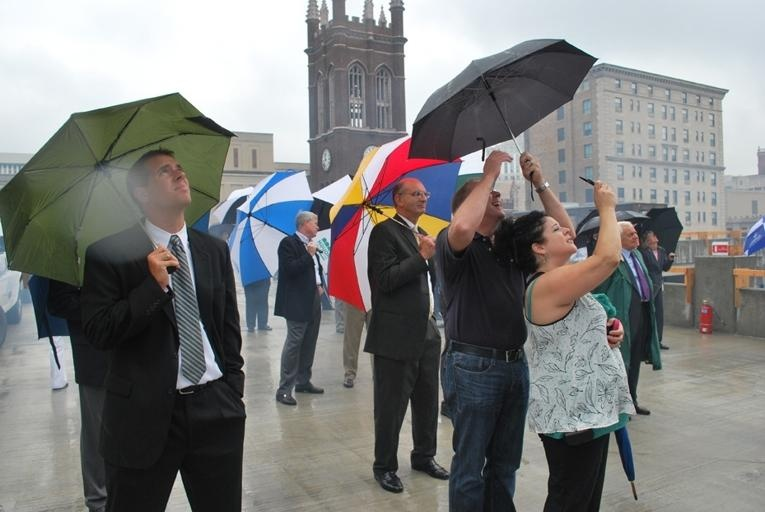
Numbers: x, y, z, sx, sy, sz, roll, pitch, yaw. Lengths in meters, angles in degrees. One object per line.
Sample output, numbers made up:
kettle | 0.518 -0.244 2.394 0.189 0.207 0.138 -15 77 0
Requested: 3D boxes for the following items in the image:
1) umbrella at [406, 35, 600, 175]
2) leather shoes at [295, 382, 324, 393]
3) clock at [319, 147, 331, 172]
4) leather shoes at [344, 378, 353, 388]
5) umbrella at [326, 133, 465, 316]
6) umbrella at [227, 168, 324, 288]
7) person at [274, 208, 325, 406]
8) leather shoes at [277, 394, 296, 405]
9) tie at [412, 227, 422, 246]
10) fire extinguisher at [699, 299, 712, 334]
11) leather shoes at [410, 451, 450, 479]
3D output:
umbrella | 0.967 -1.280 5.526 1.490 0.690 0.663 2 -1 -16
leather shoes | -1.035 1.863 9.534 0.446 0.210 0.158 1 -2 -1
clock | -4.826 -8.265 56.900 0.233 2.364 2.215 -2 3 -24
leather shoes | -0.495 1.844 9.772 0.143 0.108 0.182 2 -1 -5
umbrella | -0.049 -0.384 7.669 1.185 1.852 1.649 18 -1 16
umbrella | -2.011 -0.510 11.046 1.066 1.723 1.660 17 -4 -39
person | -1.148 0.657 9.376 0.586 2.279 0.916 1 -1 22
leather shoes | -1.281 1.909 8.984 0.310 0.139 0.136 1 -1 42
tie | 0.351 -0.202 6.766 0.085 0.168 0.087 5 27 31
fire extinguisher | 6.301 1.177 13.123 0.199 0.638 0.296 1 -1 31
leather shoes | 0.476 2.143 6.915 0.460 0.213 0.159 5 3 39
